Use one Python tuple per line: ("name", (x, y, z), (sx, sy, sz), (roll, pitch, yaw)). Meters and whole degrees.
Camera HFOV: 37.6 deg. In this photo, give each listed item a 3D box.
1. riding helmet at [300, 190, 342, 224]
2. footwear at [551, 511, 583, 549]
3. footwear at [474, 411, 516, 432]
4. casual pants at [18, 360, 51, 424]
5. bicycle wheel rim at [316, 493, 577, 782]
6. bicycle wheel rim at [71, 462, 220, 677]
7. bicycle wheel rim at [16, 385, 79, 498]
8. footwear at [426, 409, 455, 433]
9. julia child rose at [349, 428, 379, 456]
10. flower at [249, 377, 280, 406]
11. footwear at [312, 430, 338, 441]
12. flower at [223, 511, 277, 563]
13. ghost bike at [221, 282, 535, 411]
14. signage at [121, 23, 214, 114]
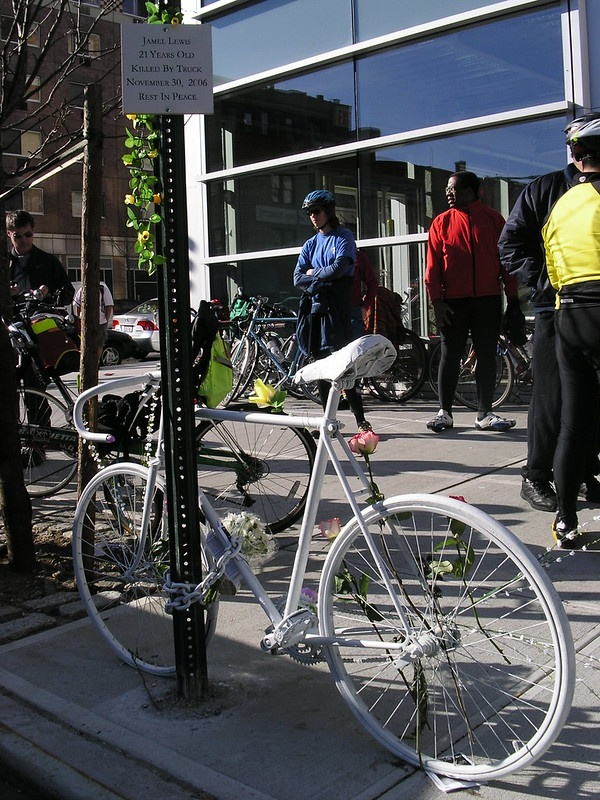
("riding helmet", (0.158, -1.443, 6.578), (0.248, 0.256, 0.317), (-2, 7, 3))
("footwear", (1.228, 0.599, 4.066), (0.097, 0.116, 0.181), (3, 27, 14))
("footwear", (1.599, 0.197, 7.406), (0.368, 0.160, 0.135), (1, 6, 38))
("casual pants", (-1.725, -0.087, 5.826), (0.172, 0.604, 0.209), (-5, 34, -24))
("bicycle wheel rim", (0.420, 0.729, 2.601), (0.767, 0.670, 0.239), (9, 3, 23))
("bicycle wheel rim", (-0.548, 0.626, 3.137), (0.167, 0.744, 0.789), (0, 4, -31))
("bicycle wheel rim", (-1.608, 0.289, 5.677), (0.336, 0.711, 0.632), (-5, 8, -16))
("footwear", (1.190, 0.190, 7.498), (0.113, 0.143, 0.311), (2, -2, 36))
("julia child rose", (0.183, 0.126, 2.603), (0.085, 0.074, 0.084), (-10, 9, 19))
("flower", (-0.109, -0.019, 2.926), (0.106, 0.039, 0.097), (-12, 35, -2))
("footwear", (0.079, 0.112, 2.866), (0.075, 0.039, 0.034), (2, 11, 8))
("flower", (-0.154, 0.449, 2.909), (0.166, 0.107, 0.175), (35, -6, 16))
("ghost bike", (0.829, -0.610, 9.671), (2.989, 1.553, 1.389), (3, 10, 13))
("signage", (-0.393, -0.968, 2.576), (0.304, 0.264, 0.032), (-16, 33, -35))
